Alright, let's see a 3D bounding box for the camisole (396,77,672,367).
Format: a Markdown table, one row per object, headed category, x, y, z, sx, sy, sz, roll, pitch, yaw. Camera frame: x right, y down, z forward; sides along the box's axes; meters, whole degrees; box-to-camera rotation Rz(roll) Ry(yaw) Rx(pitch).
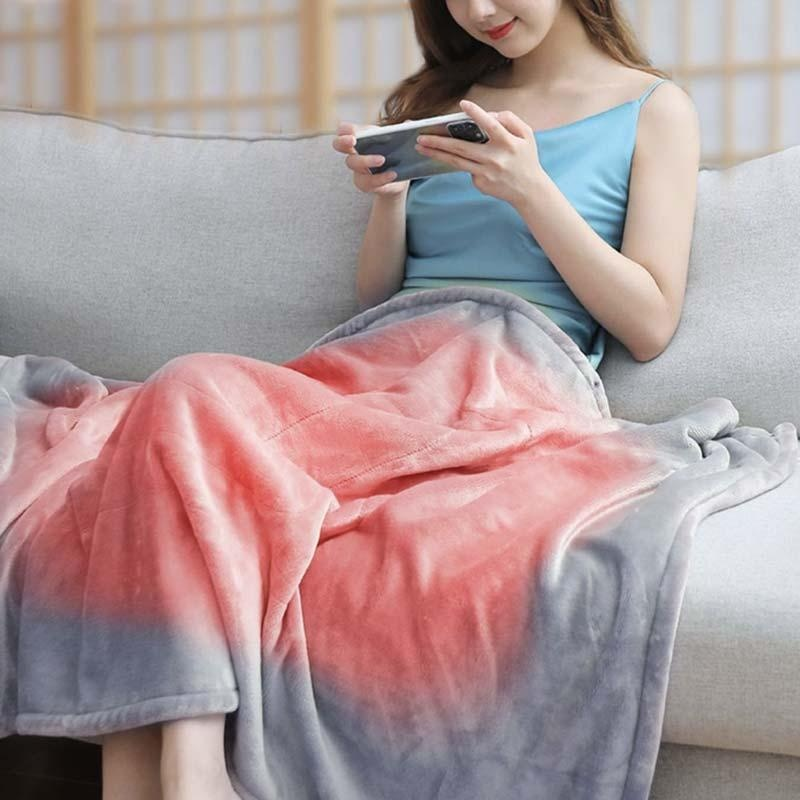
| category | x | y | z | sx | sy | sz | roll | pitch | yaw |
| --- | --- | --- | --- | --- | --- | --- | --- | --- | --- |
| camisole | 0.192 | -0.228 | 1.433 | 0.370 | 0.397 | 0.232 | -12 | 11 | 27 |
